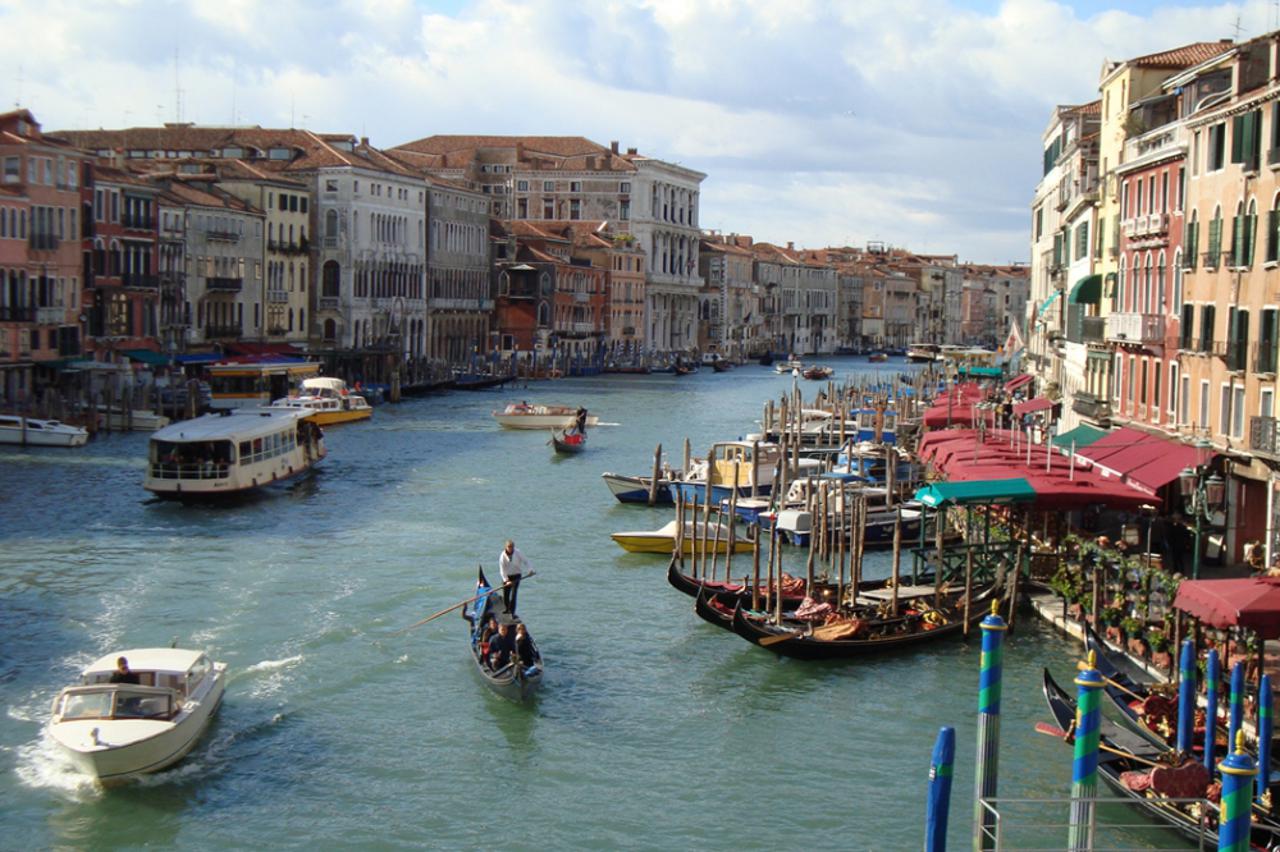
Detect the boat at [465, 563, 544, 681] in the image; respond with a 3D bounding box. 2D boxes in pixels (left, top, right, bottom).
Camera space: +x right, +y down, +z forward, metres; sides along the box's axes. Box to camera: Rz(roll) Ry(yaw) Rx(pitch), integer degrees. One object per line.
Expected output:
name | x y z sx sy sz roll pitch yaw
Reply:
boat | -3.503 5.397 41.967 1.251 1.334 4.323 -1 17 -14
